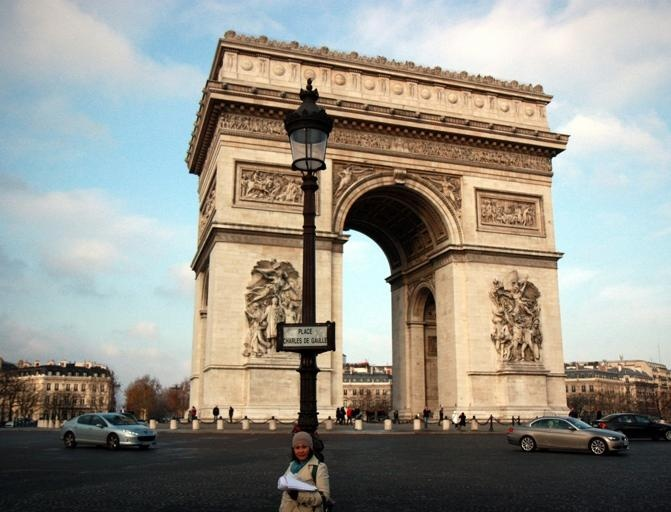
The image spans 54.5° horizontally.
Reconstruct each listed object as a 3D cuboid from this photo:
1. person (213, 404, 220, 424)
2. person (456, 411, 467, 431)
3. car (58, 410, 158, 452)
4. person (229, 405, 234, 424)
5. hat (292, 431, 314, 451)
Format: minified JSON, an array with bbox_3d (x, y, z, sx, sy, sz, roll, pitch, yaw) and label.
[{"bbox_3d":[-6.315,8.333,34.625,0.365,0.837,0.600,4,-17,-11],"label":"person"},{"bbox_3d":[7.139,9.348,36.995,0.518,0.907,1.508,-2,-16,10],"label":"person"},{"bbox_3d":[-8.557,6.622,24.700,3.949,1.312,0.905,-6,-18,22],"label":"car"},{"bbox_3d":[-5.561,8.447,34.729,0.325,0.866,0.508,3,-17,-7],"label":"person"},{"bbox_3d":[-0.436,2.483,8.724,0.219,0.178,0.234,0,-23,0],"label":"hat"}]
